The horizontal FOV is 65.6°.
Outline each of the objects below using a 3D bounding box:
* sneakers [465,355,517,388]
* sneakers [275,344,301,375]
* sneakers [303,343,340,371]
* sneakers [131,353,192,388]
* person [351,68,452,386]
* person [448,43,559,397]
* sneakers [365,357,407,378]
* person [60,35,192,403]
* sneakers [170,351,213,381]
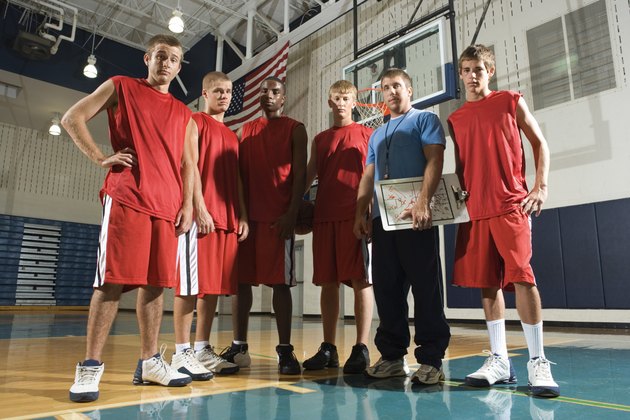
[{"bbox_3d":[1.212,1.088,3.344,0.381,0.210,0.129,2,-13,-15],"label":"sneakers"},{"bbox_3d":[-0.200,1.102,3.622,0.204,0.217,0.180,-4,-13,11],"label":"sneakers"},{"bbox_3d":[0.068,1.116,3.706,0.128,0.199,0.332,-15,-24,37],"label":"sneakers"},{"bbox_3d":[-1.048,1.098,3.395,0.463,0.242,0.172,2,-9,4],"label":"sneakers"},{"bbox_3d":[0.629,0.094,3.543,0.694,2.230,0.494,-3,-13,7],"label":"person"},{"bbox_3d":[1.294,0.037,3.409,0.660,2.381,0.476,0,-13,-8],"label":"person"},{"bbox_3d":[0.511,1.128,3.500,0.289,0.152,0.118,4,-15,-15],"label":"sneakers"},{"bbox_3d":[-1.248,0.018,3.344,0.752,2.398,0.560,-1,-13,-3],"label":"person"},{"bbox_3d":[-0.880,1.082,3.490,0.373,0.184,0.137,4,-3,33],"label":"sneakers"}]
